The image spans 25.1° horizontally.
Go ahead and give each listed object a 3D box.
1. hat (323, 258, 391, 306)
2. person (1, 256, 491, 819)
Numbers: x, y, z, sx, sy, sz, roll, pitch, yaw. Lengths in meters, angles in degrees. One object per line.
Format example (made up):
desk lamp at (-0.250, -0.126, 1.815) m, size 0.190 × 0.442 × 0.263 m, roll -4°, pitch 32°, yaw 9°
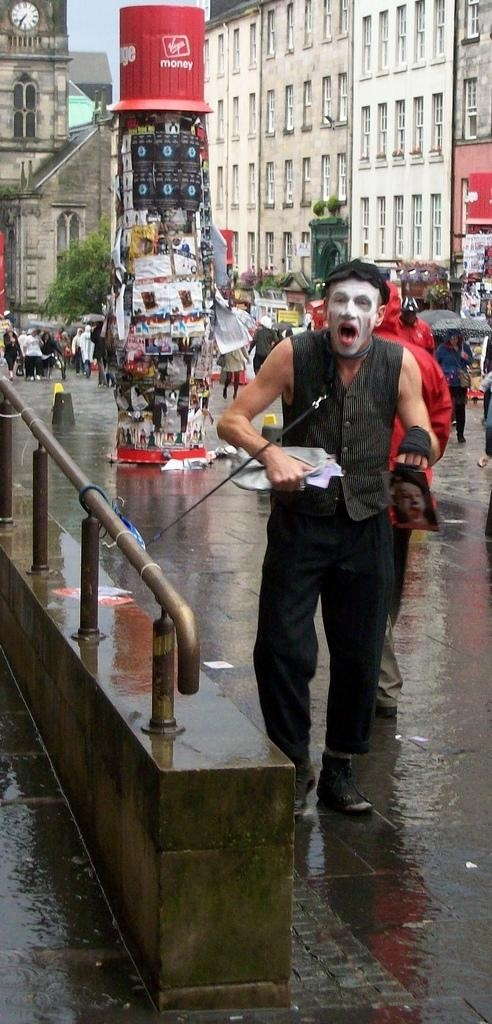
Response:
hat at (0.339, -0.726, 3.368) m, size 0.145 × 0.081 × 0.165 m, roll 17°, pitch 7°, yaw 12°
person at (0.224, 0.096, 3.433) m, size 0.712 × 1.431 × 0.440 m, roll 4°, pitch 2°, yaw -30°
